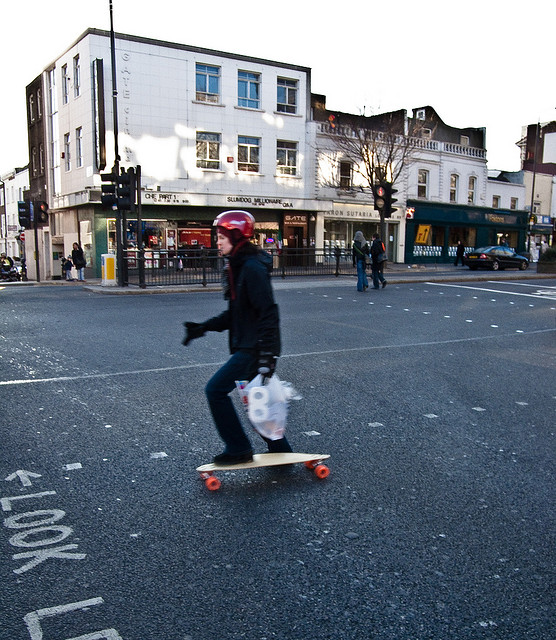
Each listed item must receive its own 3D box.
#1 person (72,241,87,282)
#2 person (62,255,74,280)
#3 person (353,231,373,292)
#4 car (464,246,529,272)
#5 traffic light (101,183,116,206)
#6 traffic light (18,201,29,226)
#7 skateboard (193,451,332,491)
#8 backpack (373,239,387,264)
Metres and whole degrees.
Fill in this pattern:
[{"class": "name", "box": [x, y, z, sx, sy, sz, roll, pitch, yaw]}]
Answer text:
[{"class": "person", "box": [-8.313, -2.420, 27.269, 0.490, 1.667, 0.544, -10, 10, -11]}, {"class": "person", "box": [-9.151, -2.262, 28.443, 0.485, 1.112, 2.420, -2, 8, -17]}, {"class": "person", "box": [2.455, -1.701, 18.811, 0.572, 1.677, 1.780, 1, 7, 6]}, {"class": "car", "box": [11.631, -3.033, 34.467, 3.590, 1.271, 1.551, -5, 8, -31]}, {"class": "traffic light", "box": [-4.902, -3.657, 18.951, 0.385, 0.653, 1.197, -1, 7, -14]}, {"class": "traffic light", "box": [-9.933, -4.149, 25.513, 0.389, 0.913, 2.039, -2, 8, -21]}, {"class": "skateboard", "box": [-0.076, 0.916, 4.183, 0.822, 0.162, 0.326, -4, 7, -9]}, {"class": "backpack", "box": [2.950, -1.995, 18.944, 0.362, 0.648, 0.752, 1, 7, 8]}]
